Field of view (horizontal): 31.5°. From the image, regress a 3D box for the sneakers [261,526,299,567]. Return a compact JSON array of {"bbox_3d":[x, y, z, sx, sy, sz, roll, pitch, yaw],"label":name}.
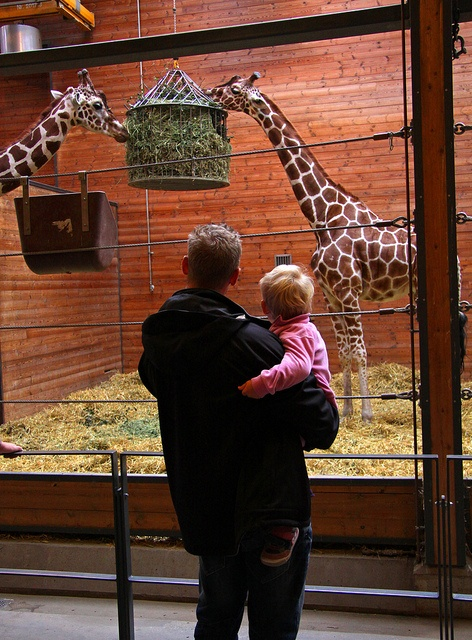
[{"bbox_3d":[0.101,0.491,1.879,0.056,0.046,0.110,-5,34,31],"label":"sneakers"}]
